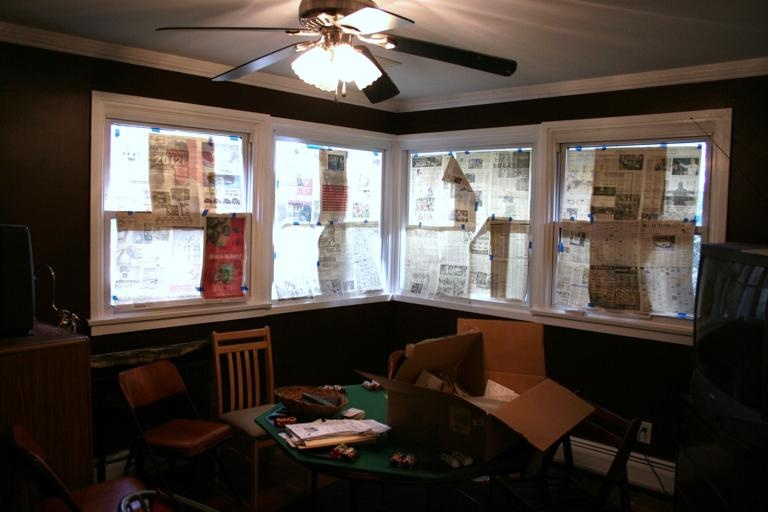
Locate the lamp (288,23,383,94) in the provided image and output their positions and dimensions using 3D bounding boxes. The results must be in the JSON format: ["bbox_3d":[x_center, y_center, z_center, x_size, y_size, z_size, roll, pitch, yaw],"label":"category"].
[{"bbox_3d":[-0.272,-1.051,2.991,0.412,0.126,0.408,-6,-15,30],"label":"lamp"}]

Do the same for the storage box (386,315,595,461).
[{"bbox_3d":[0.674,0.699,3.333,0.898,0.551,0.903,-3,8,-43],"label":"storage box"}]
